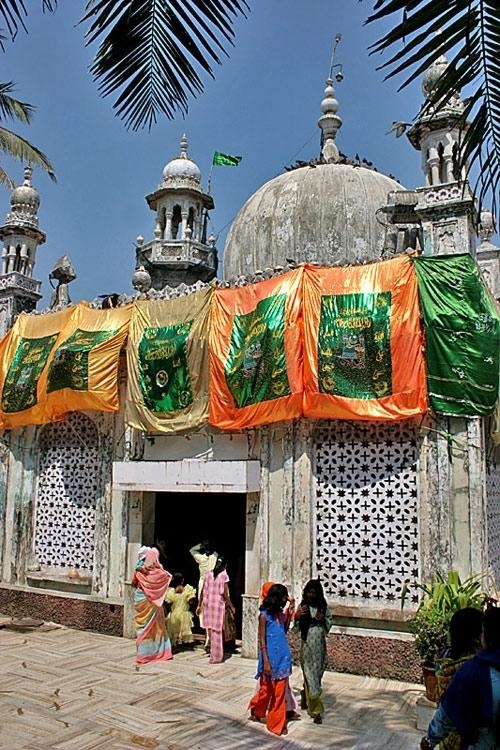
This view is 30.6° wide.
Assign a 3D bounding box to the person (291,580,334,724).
[{"bbox_3d":[0.540,2.308,7.683,0.245,1.163,0.334,-2,-4,28],"label":"person"}]

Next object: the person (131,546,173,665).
[{"bbox_3d":[-1.070,2.462,9.790,0.533,1.158,0.409,2,-4,-36],"label":"person"}]

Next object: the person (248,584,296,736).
[{"bbox_3d":[0.156,2.290,7.421,0.329,1.176,0.644,0,-3,0],"label":"person"}]

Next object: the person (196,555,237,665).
[{"bbox_3d":[-0.377,2.543,9.962,0.338,1.061,0.679,0,-3,-3],"label":"person"}]
